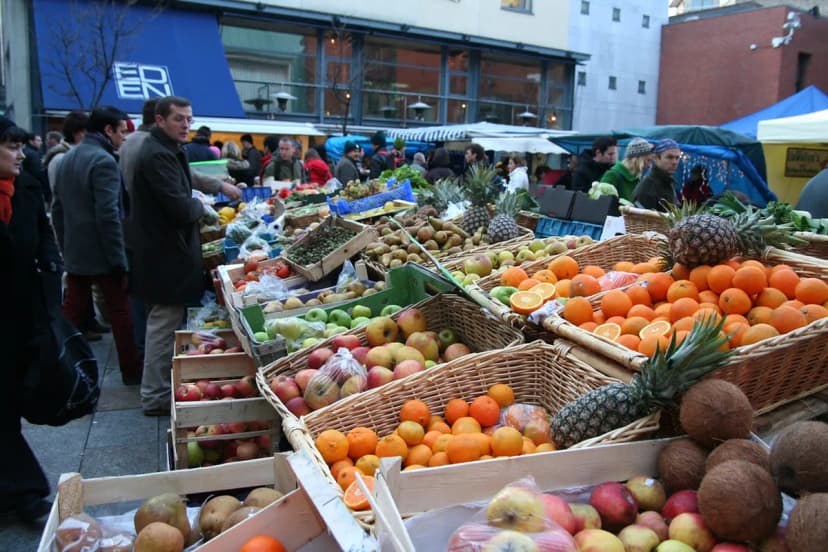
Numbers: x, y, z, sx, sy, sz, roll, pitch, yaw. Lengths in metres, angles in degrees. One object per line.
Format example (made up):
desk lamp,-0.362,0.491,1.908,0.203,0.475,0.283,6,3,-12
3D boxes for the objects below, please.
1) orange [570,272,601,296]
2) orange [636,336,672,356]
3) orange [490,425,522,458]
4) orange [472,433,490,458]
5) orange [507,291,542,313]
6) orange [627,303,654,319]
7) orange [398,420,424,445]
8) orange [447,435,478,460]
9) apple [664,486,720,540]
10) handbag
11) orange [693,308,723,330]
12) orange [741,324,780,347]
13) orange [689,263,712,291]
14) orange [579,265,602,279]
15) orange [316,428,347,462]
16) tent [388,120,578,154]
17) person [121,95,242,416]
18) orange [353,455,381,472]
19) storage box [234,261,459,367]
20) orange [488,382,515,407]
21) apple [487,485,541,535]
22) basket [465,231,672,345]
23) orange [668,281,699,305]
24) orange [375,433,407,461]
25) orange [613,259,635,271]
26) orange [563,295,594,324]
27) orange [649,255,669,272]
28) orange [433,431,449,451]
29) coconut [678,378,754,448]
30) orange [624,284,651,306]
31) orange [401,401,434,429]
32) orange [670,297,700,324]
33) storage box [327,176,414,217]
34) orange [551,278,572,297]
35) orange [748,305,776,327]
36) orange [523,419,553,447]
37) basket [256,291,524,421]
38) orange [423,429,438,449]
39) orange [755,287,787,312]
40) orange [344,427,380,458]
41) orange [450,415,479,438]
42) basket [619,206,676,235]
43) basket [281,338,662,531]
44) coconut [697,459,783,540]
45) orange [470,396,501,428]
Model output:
orange,1.190,0.072,3.960,0.172,0.142,0.134,-26,36,1
orange,1.432,0.420,3.351,0.126,0.134,0.127,4,-18,-8
orange,0.534,0.962,3.333,0.152,0.159,0.160,0,50,-28
orange,0.399,0.990,3.340,0.095,0.126,0.100,-6,9,1
orange,0.785,0.184,3.955,0.147,0.093,0.153,21,41,27
orange,1.483,0.236,3.693,0.100,0.108,0.116,11,-1,-36
orange,-0.009,0.936,3.451,0.131,0.108,0.131,5,-26,40
orange,0.282,0.990,3.242,0.194,0.143,0.121,-2,14,3
apple,1.418,1.168,2.894,0.211,0.135,0.228,-26,18,-26
handbag,-2.694,0.499,4.200,0.454,1.215,0.516,-9,2,-13
orange,1.750,0.241,3.379,0.136,0.102,0.174,0,6,7
orange,2.024,0.335,3.330,0.156,0.131,0.121,-17,1,2
orange,1.905,0.012,3.764,0.135,0.179,0.140,-2,7,-11
orange,1.370,-0.031,4.366,0.123,0.104,0.098,5,3,-5
orange,-0.477,0.987,3.291,0.161,0.172,0.170,-6,43,-22
tent,1.596,-3.881,15.826,3.133,0.796,3.585,8,17,35
person,-2.295,-0.237,5.776,1.081,2.820,1.008,-1,6,-19
orange,-0.264,1.091,3.326,0.092,0.097,0.097,5,10,10
storage box,-0.550,0.217,5.171,1.680,0.508,1.750,-17,-1,1
orange,0.566,0.763,3.662,0.131,0.142,0.137,3,-6,-3
apple,0.467,1.080,2.705,0.230,0.156,0.299,-4,9,2
basket,1.218,-0.023,4.382,1.365,0.307,0.765,-21,16,-13
orange,1.770,0.095,3.725,0.142,0.149,0.141,-4,25,-20
orange,-0.130,1.002,3.323,0.163,0.177,0.173,-3,-33,-4
orange,1.614,-0.079,4.353,0.110,0.097,0.086,-9,7,-5
orange,1.091,0.236,3.848,0.163,0.211,0.168,-15,0,-8
orange,1.799,-0.087,4.154,0.083,0.115,0.094,4,-11,-43
orange,0.161,0.991,3.356,0.081,0.085,0.083,-19,21,-12
coconut,1.607,0.736,3.016,0.344,0.334,0.174,5,16,27
orange,1.519,0.138,3.874,0.132,0.173,0.139,-15,-34,22
orange,0.026,0.812,3.544,0.158,0.155,0.184,40,0,9
orange,1.692,0.205,3.557,0.176,0.160,0.153,-18,-6,25
storage box,-0.435,-0.899,6.526,1.102,0.287,0.303,-12,17,-32
orange,1.079,0.087,4.145,0.113,0.145,0.114,-1,29,-43
orange,2.155,0.248,3.510,0.118,0.104,0.094,-5,11,-7
orange,0.745,0.945,3.434,0.128,0.167,0.136,8,-30,-7
basket,-0.246,0.430,4.015,1.516,0.910,1.283,-8,23,-36
orange,0.097,0.981,3.410,0.071,0.077,0.094,1,44,-2
orange,2.254,0.139,3.573,0.133,0.161,0.132,-42,2,-42
orange,-0.310,1.022,3.415,0.155,0.166,0.151,19,-22,11
orange,0.316,0.912,3.438,0.103,0.112,0.102,1,-5,-42
basket,2.042,-0.518,4.960,0.329,0.145,0.262,5,11,13
basket,0.385,0.871,3.259,1.450,0.585,1.068,-17,9,-14
coconut,1.573,1.065,2.948,0.470,0.337,0.390,3,17,7
orange,0.441,0.831,3.501,0.162,0.180,0.169,-1,0,-6
